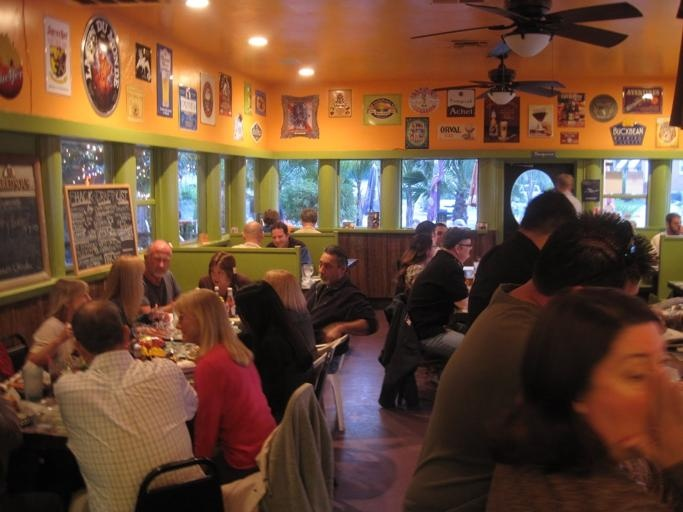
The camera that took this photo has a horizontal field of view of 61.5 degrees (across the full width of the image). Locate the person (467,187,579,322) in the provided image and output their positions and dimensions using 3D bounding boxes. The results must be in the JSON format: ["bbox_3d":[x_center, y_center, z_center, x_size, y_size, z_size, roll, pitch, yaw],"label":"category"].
[{"bbox_3d":[0.897,0.029,2.917,0.555,0.704,0.275,3,7,35],"label":"person"}]

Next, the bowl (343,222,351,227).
[{"bbox_3d":[0.110,-0.516,9.789,0.139,0.092,0.077,2,8,8],"label":"bowl"}]

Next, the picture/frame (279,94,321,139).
[{"bbox_3d":[-0.658,-2.314,9.538,0.732,0.729,0.073,1,3,4],"label":"picture/frame"}]

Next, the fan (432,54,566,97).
[{"bbox_3d":[2.028,-2.279,7.244,1.161,0.471,1.215,-8,12,-32],"label":"fan"}]

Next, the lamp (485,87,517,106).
[{"bbox_3d":[1.616,-1.568,5.770,0.224,0.104,0.347,2,6,20],"label":"lamp"}]

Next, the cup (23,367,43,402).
[{"bbox_3d":[-1.569,0.639,2.935,0.087,0.190,0.097,-4,6,-29],"label":"cup"}]

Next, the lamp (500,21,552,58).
[{"bbox_3d":[1.274,-1.444,4.009,0.287,0.193,0.282,0,1,-4],"label":"lamp"}]

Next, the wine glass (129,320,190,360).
[{"bbox_3d":[-1.122,0.550,3.594,0.275,0.098,0.269,4,1,-8],"label":"wine glass"}]
